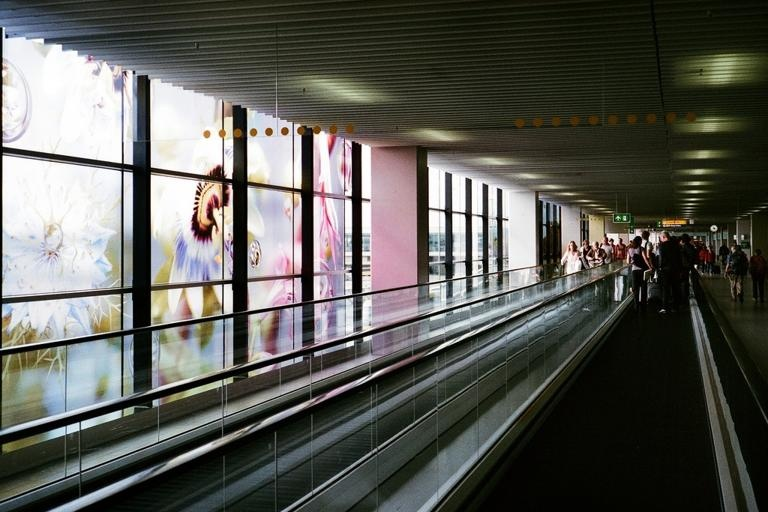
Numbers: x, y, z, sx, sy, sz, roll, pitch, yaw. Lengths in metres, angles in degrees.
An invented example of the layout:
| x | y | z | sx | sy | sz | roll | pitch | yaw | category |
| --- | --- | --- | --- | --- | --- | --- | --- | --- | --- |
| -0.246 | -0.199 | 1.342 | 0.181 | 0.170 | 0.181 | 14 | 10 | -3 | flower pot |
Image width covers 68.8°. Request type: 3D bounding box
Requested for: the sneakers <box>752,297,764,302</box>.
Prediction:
| x | y | z | sx | sy | sz | roll | pitch | yaw | category |
| --- | --- | --- | --- | --- | --- | --- | --- | --- | --- |
| 11.055 | 1.280 | 16.533 | 0.262 | 0.095 | 0.195 | 2 | -2 | 29 | sneakers |

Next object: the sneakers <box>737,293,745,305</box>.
| x | y | z | sx | sy | sz | roll | pitch | yaw | category |
| --- | --- | --- | --- | --- | --- | --- | --- | --- | --- |
| 10.704 | 1.303 | 16.806 | 0.079 | 0.302 | 0.112 | 3 | 0 | 8 | sneakers |

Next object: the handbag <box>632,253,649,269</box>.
| x | y | z | sx | sy | sz | roll | pitch | yaw | category |
| --- | --- | --- | --- | --- | --- | --- | --- | --- | --- |
| 6.086 | 0.153 | 13.355 | 0.301 | 0.378 | 0.410 | -10 | -46 | 37 | handbag |
